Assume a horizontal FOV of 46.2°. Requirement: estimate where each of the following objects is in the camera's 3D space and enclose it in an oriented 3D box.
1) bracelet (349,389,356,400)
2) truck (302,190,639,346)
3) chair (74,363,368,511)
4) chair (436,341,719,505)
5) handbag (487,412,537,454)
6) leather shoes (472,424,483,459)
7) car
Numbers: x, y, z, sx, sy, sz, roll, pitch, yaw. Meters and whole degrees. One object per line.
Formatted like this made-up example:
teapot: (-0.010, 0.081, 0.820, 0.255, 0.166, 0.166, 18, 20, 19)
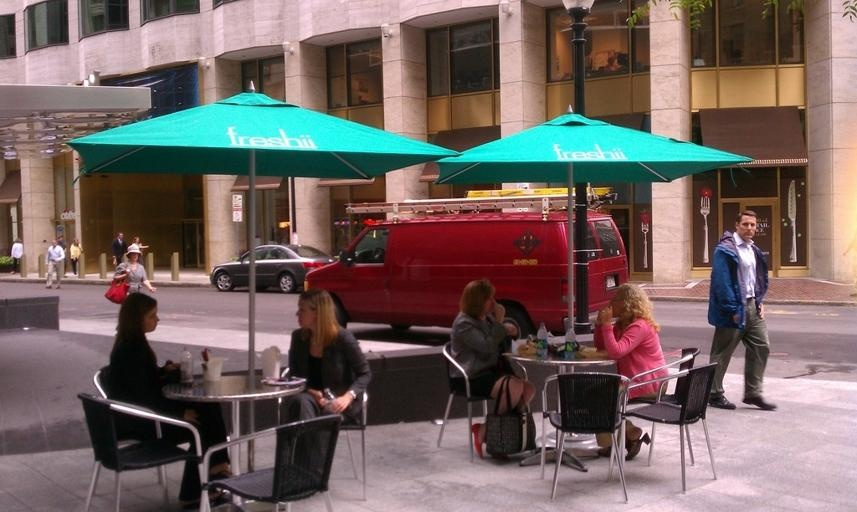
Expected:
bracelet: (-1.339, 2.423, 17.564, 0.139, 0.092, 0.130, 3, 5, -6)
truck: (1.352, 0.135, 26.028, 7.065, 3.337, 3.879, 3, 2, 25)
chair: (-3.256, 3.338, 16.484, 3.619, 2.014, 1.300, -1, 4, 19)
chair: (3.115, 3.004, 17.967, 4.039, 2.332, 1.695, -2, 4, 2)
handbag: (1.471, 3.279, 18.605, 0.534, 0.810, 0.935, 11, -15, -43)
leather shoes: (0.906, 3.421, 18.499, 0.273, 0.604, 0.188, -3, 1, 2)
car: (-5.624, 0.415, 36.531, 4.578, 1.472, 1.903, 2, 1, 26)
